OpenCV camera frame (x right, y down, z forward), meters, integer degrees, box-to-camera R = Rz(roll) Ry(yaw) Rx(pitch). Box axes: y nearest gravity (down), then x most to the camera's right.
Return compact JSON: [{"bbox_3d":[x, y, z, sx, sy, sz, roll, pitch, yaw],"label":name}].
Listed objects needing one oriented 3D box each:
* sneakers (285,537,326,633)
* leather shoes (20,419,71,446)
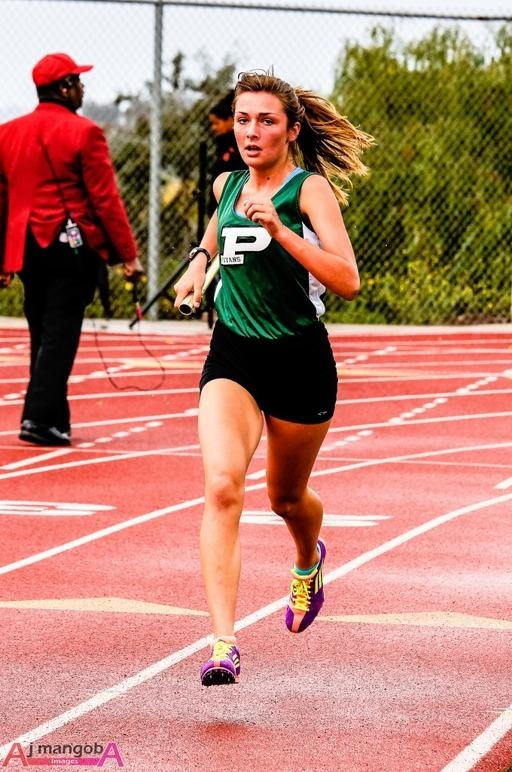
[{"bbox_3d":[0.170,0.630,2.723,0.083,0.245,0.104,6,-33,20],"label":"sneakers"},{"bbox_3d":[-1.336,0.317,5.703,0.371,0.149,0.136,3,5,-32],"label":"leather shoes"}]
